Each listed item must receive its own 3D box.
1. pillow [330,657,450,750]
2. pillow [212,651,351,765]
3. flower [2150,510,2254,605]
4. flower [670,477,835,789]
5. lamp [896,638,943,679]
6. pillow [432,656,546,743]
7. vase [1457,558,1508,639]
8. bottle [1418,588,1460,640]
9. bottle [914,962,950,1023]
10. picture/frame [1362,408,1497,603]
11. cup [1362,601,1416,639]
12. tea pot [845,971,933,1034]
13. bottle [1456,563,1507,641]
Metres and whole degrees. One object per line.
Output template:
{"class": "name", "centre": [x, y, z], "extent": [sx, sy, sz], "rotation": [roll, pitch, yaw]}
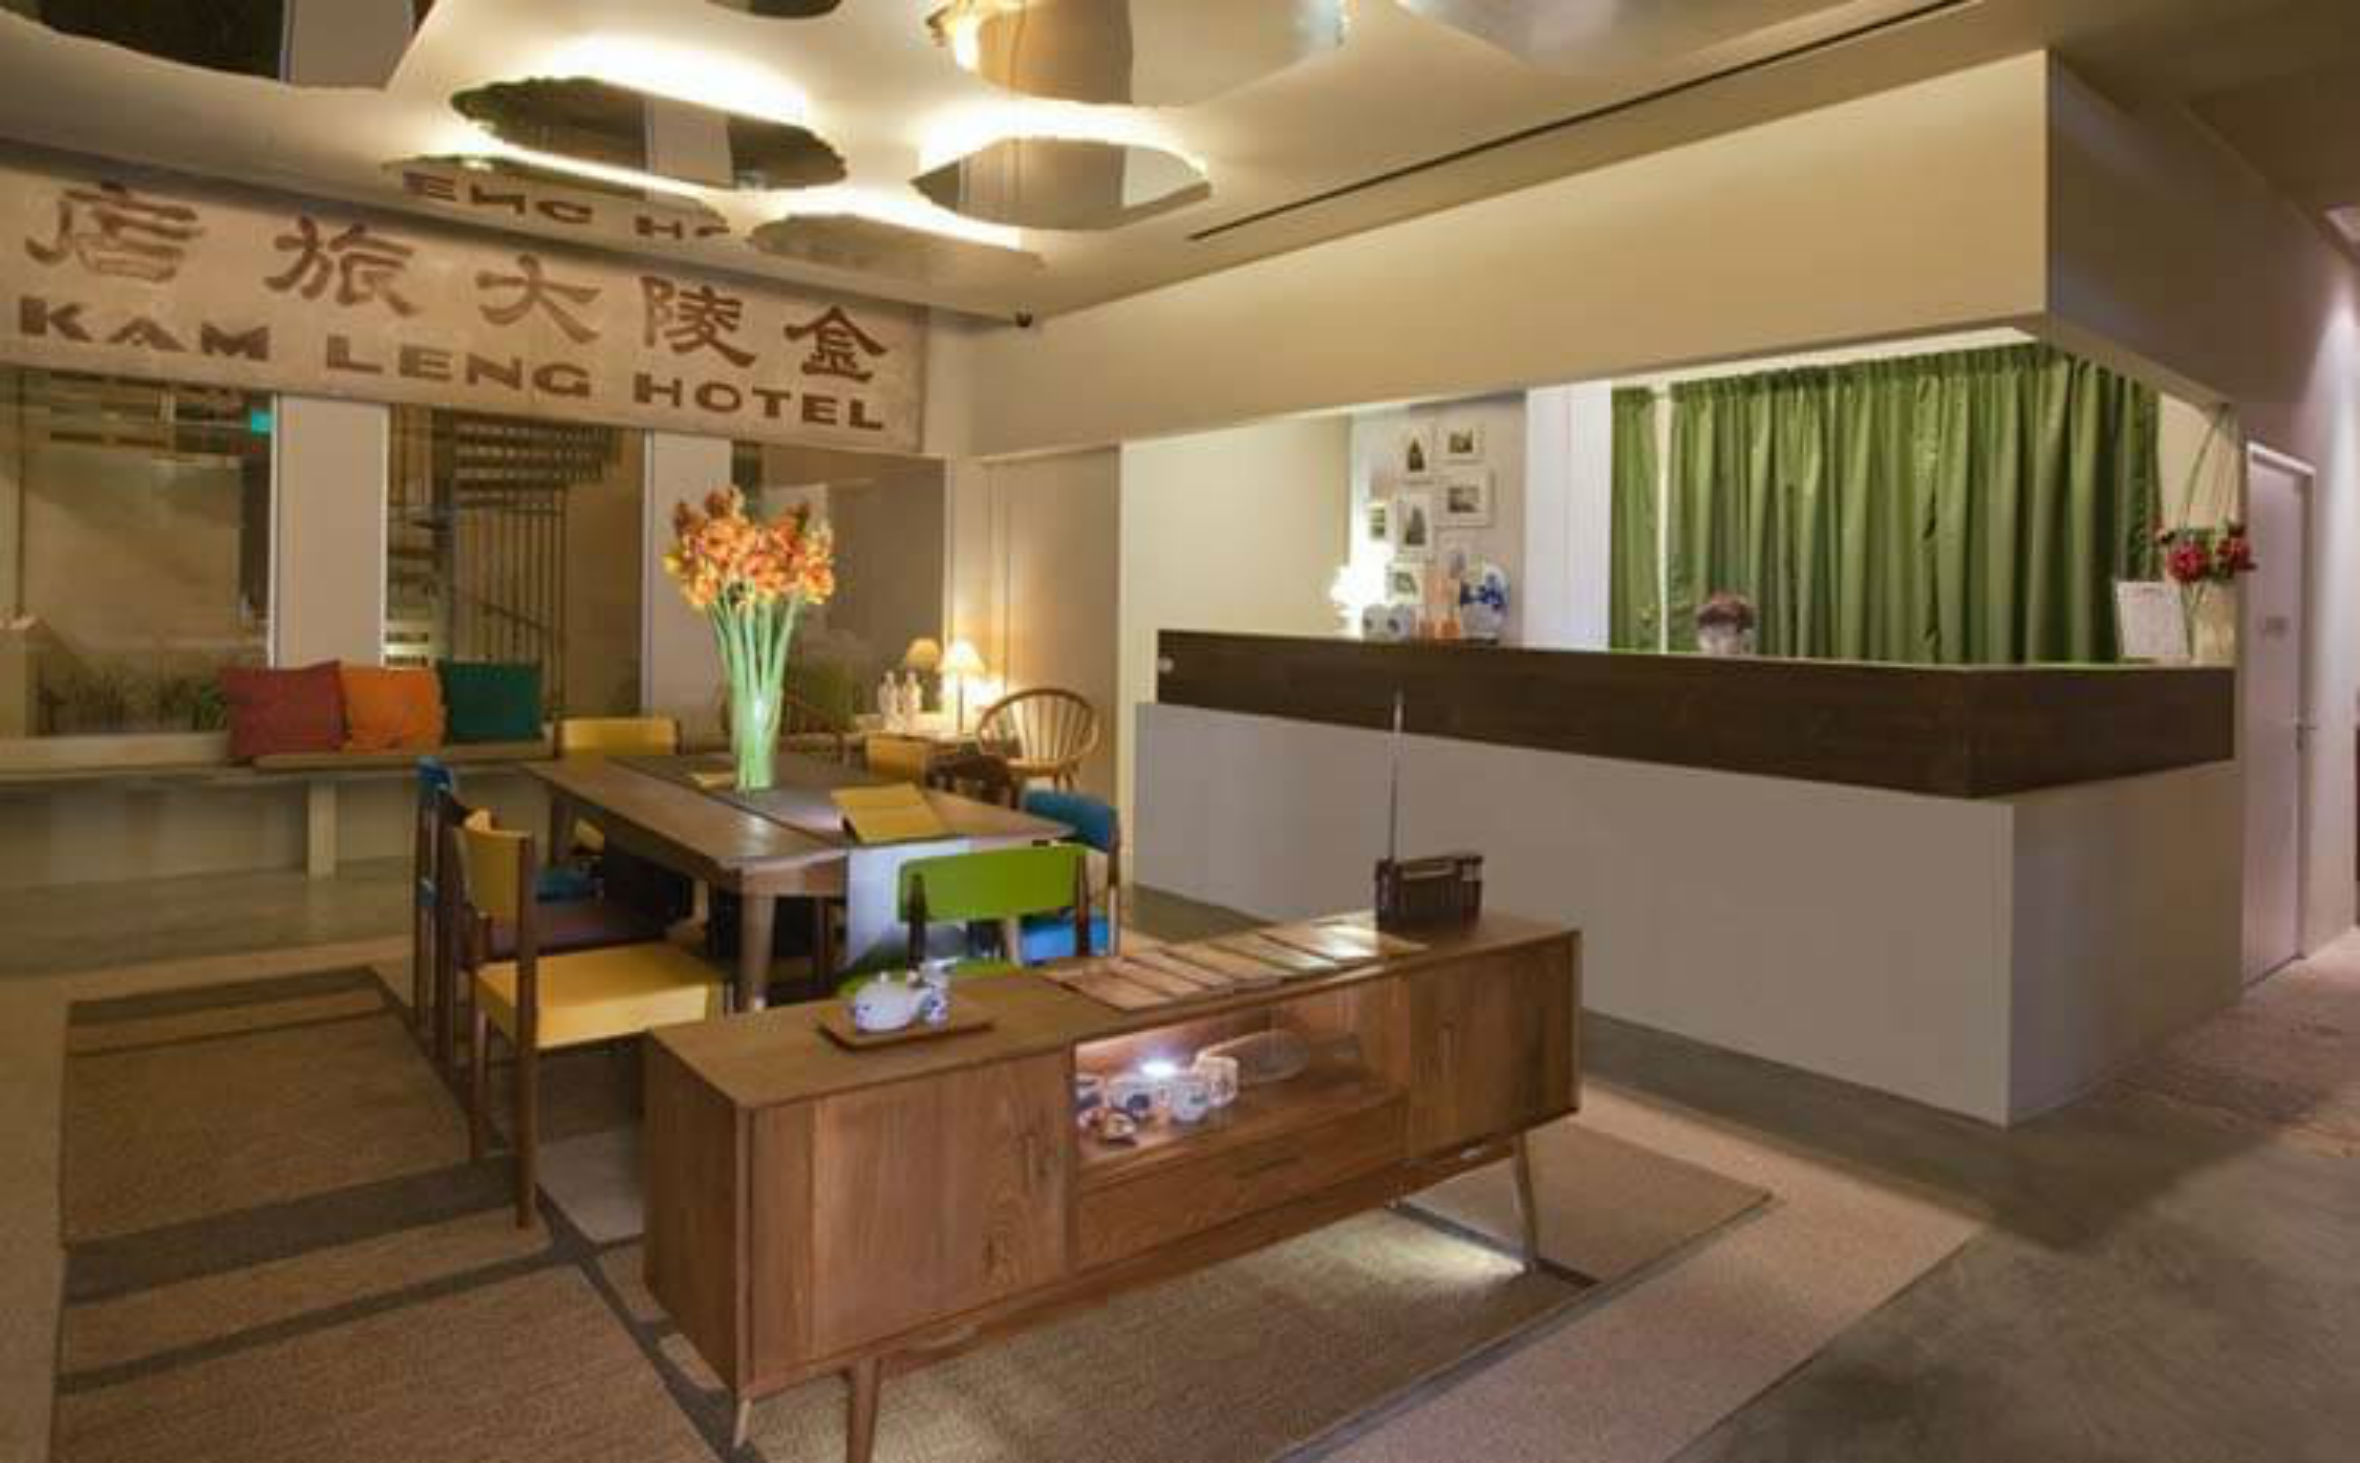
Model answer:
{"class": "pillow", "centre": [-4.918, -0.141, 9.196], "extent": [0.170, 0.432, 0.443], "rotation": [-17, -30, 35]}
{"class": "pillow", "centre": [-5.433, -0.088, 8.985], "extent": [0.321, 0.572, 0.678], "rotation": [13, 10, 34]}
{"class": "flower", "centre": [4.911, -0.827, 7.229], "extent": [0.372, 0.250, 0.368], "rotation": [1, 0, -9]}
{"class": "flower", "centre": [-1.936, -0.371, 6.658], "extent": [0.787, 1.263, 0.744], "rotation": [-3, 5, -22]}
{"class": "lamp", "centre": [-1.911, -0.520, 10.994], "extent": [0.279, 0.265, 0.308], "rotation": [3, 6, -4]}
{"class": "pillow", "centre": [-4.448, -0.172, 9.494], "extent": [0.549, 0.495, 0.191], "rotation": [0, -9, -33]}
{"class": "vase", "centre": [1.655, -0.678, 8.147], "extent": [0.340, 0.445, 0.350], "rotation": [0, 0, -8]}
{"class": "bottle", "centre": [1.455, -0.647, 8.423], "extent": [0.227, 0.250, 0.457], "rotation": [1, 6, 9]}
{"class": "bottle", "centre": [-0.736, 0.793, 4.535], "extent": [0.102, 0.164, 0.165], "rotation": [-2, 5, -30]}
{"class": "picture/frame", "centre": [1.455, -1.288, 8.519], "extent": [0.081, 1.491, 1.143], "rotation": [-2, 3, -42]}
{"class": "cup", "centre": [1.147, -0.599, 8.379], "extent": [0.326, 0.303, 0.190], "rotation": [4, 7, 39]}
{"class": "tea pot", "centre": [-0.872, 0.809, 4.432], "extent": [0.162, 0.147, 0.214], "rotation": [0, -4, 43]}
{"class": "bottle", "centre": [1.655, -0.676, 8.144], "extent": [0.338, 0.430, 0.346], "rotation": [0, 0, 0]}
